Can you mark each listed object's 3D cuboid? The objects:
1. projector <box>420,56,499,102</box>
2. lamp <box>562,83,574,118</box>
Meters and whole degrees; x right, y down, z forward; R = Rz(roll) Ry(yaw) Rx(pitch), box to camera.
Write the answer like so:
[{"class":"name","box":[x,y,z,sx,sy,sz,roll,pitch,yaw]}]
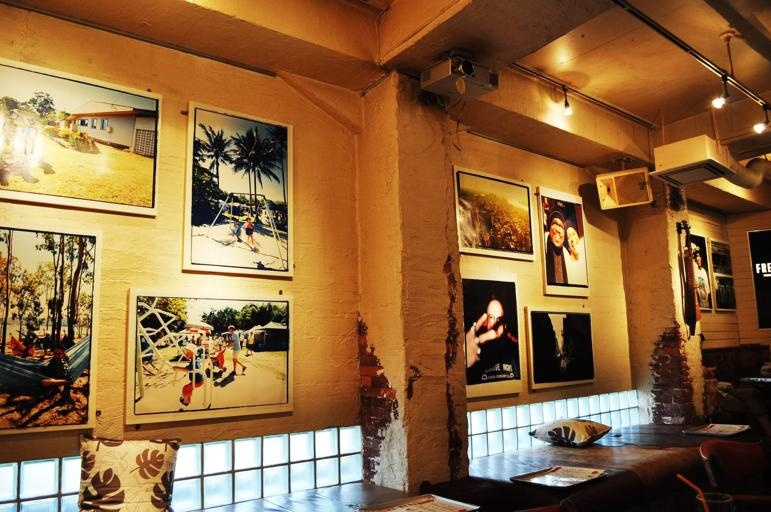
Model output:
[{"class":"projector","box":[0.634,-1.572,4.703,0.480,0.162,0.365,7,-15,-36]},{"class":"lamp","box":[2.096,-1.782,5.963,0.113,0.381,0.459,-5,-11,21]}]
